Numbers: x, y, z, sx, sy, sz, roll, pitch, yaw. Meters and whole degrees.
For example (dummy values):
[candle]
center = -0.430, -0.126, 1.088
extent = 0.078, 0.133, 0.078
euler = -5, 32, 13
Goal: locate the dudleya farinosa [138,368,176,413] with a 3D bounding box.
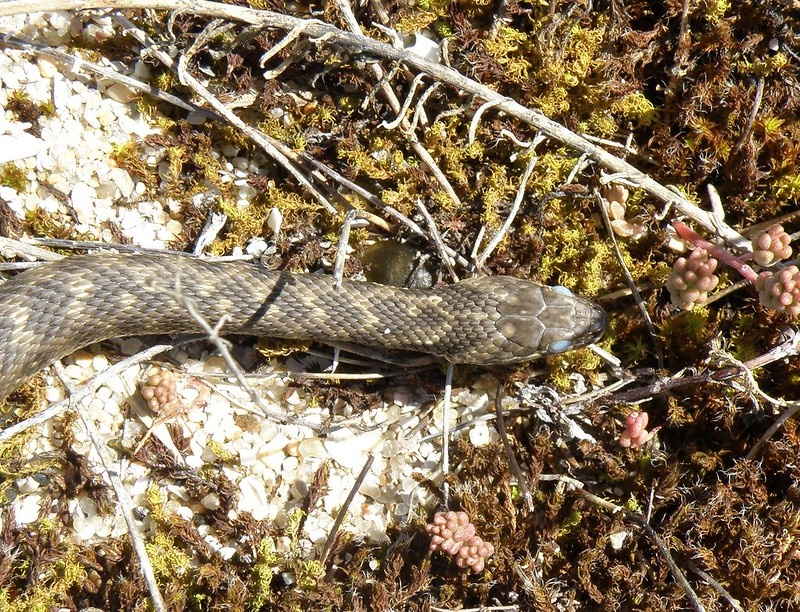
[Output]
[dudleya farinosa]
center = -1.495, 0.513, 5.176
extent = 0.239, 0.331, 0.181
euler = 3, -28, -14
